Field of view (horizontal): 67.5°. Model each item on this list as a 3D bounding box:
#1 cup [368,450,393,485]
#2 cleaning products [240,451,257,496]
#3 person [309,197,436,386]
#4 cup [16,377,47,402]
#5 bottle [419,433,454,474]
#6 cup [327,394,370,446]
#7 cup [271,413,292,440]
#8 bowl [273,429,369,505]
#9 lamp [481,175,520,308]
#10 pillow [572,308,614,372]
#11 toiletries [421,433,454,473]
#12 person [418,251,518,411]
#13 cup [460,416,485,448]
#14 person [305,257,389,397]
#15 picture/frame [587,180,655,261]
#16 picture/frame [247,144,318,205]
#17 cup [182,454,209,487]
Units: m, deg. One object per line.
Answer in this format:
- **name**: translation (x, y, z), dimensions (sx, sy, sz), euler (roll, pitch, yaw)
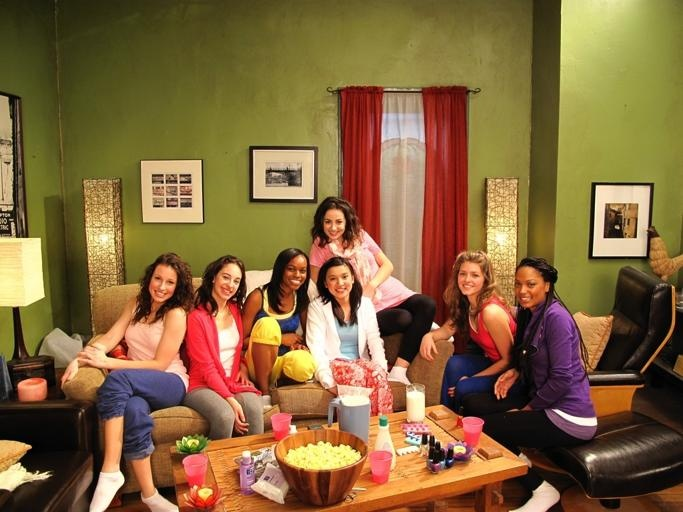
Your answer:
- **cup**: translation (0.200, 1.066, 2.604), dimensions (0.153, 0.150, 0.158), euler (-3, 10, 0)
- **cleaning products**: translation (-0.472, 1.067, 2.563), dimensions (0.084, 0.197, 0.137), euler (-4, 8, -12)
- **person**: translation (0.283, 0.245, 4.072), dimensions (0.885, 1.555, 0.635), euler (-1, 19, 43)
- **cup**: translation (-1.940, 0.840, 3.242), dimensions (0.168, 0.109, 0.173), euler (4, 0, 0)
- **bottle**: translation (0.494, 1.029, 2.722), dimensions (0.148, 0.186, 0.188), euler (-1, 5, -13)
- **cup**: translation (0.068, 0.878, 2.777), dimensions (0.274, 0.275, 0.176), euler (-2, -2, 9)
- **cup**: translation (-0.324, 0.930, 2.847), dimensions (0.131, 0.140, 0.133), euler (0, 1, 0)
- **bowl**: translation (-0.094, 1.003, 2.445), dimensions (0.348, 0.167, 0.357), euler (-1, 4, 0)
- **lamp**: translation (1.592, -0.124, 5.014), dimensions (0.293, 1.525, 0.206), euler (3, 37, 22)
- **pillow**: translation (1.809, 0.605, 3.688), dimensions (0.108, 0.367, 0.357), euler (20, -10, -25)
- **toiletries**: translation (0.509, 1.044, 2.753), dimensions (0.148, 0.184, 0.183), euler (-5, 10, -33)
- **person**: translation (0.974, 0.686, 3.739), dimensions (0.745, 1.423, 0.537), euler (-5, 9, -9)
- **cup**: translation (0.717, 0.960, 2.808), dimensions (0.139, 0.147, 0.143), euler (0, -5, 0)
- **person**: translation (-0.023, 0.447, 3.721), dimensions (0.624, 1.009, 0.868), euler (-5, 12, -15)
- **picture/frame**: translation (2.499, -0.349, 4.537), dimensions (0.676, 0.887, 0.044), euler (1, 3, 1)
- **picture/frame**: translation (-0.573, -0.816, 4.951), dimensions (0.527, 0.464, 0.041), euler (0, 10, 3)
- **cup**: translation (-0.719, 1.048, 2.546), dimensions (0.129, 0.114, 0.133), euler (-1, -1, 0)
